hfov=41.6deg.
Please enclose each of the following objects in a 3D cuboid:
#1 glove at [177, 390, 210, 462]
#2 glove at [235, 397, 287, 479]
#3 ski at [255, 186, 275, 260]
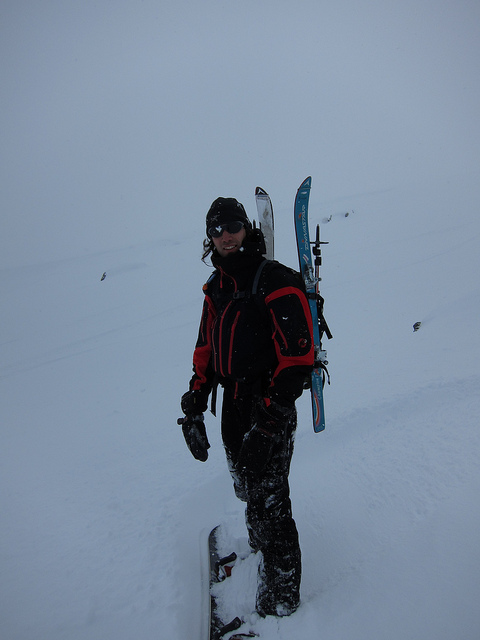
[{"bbox_3d":[-0.386,0.937,5.605,0.258,0.421,0.359,-8,6,7],"label":"glove"},{"bbox_3d":[0.208,0.942,5.015,0.342,0.608,0.154,26,0,23],"label":"glove"},{"bbox_3d":[0.261,-0.881,5.896,0.127,0.960,0.094,2,-30,-16],"label":"ski"}]
